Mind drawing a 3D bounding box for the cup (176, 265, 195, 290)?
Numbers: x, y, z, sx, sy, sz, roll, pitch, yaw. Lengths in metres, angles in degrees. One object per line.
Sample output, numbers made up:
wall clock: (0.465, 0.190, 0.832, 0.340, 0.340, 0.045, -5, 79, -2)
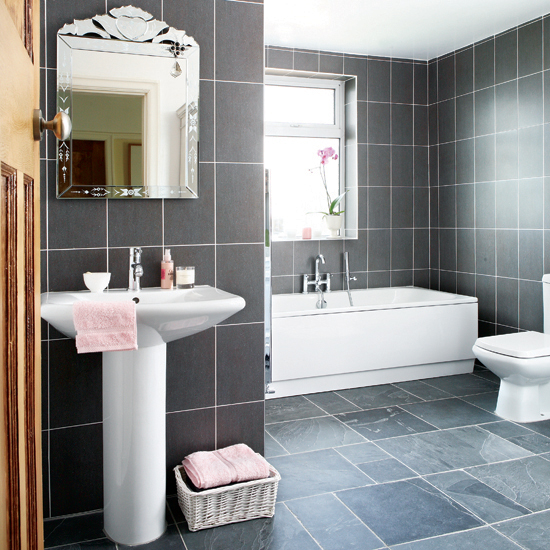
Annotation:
cup: (-0.382, 0.017, 2.238, 0.073, 0.098, 0.082, 0, 2, 1)

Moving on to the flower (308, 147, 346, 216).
flower: (0.442, -0.807, 4.466, 0.290, 0.604, 0.315, 0, 4, 8)

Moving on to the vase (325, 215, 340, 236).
vase: (0.479, -0.410, 4.418, 0.132, 0.187, 0.146, 0, 0, -10)

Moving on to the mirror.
mirror: (-0.593, -0.643, 2.150, 0.552, 0.767, 0.027, -1, -15, -11)

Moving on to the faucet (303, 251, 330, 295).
faucet: (0.327, -0.009, 4.294, 0.283, 0.402, 0.180, 0, -1, -22)

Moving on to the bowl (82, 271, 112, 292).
bowl: (-0.704, 0.029, 2.065, 0.074, 0.073, 0.085, 0, -1, -7)

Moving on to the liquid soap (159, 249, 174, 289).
liquid soap: (-0.457, -0.026, 2.219, 0.059, 0.168, 0.077, -1, 5, -14)

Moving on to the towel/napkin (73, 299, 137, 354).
towel/napkin: (-0.561, 0.170, 1.733, 0.203, 0.160, 0.106, -2, 5, -18)

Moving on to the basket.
basket: (-0.191, 0.861, 2.094, 0.288, 0.143, 0.212, -3, 7, -17)
